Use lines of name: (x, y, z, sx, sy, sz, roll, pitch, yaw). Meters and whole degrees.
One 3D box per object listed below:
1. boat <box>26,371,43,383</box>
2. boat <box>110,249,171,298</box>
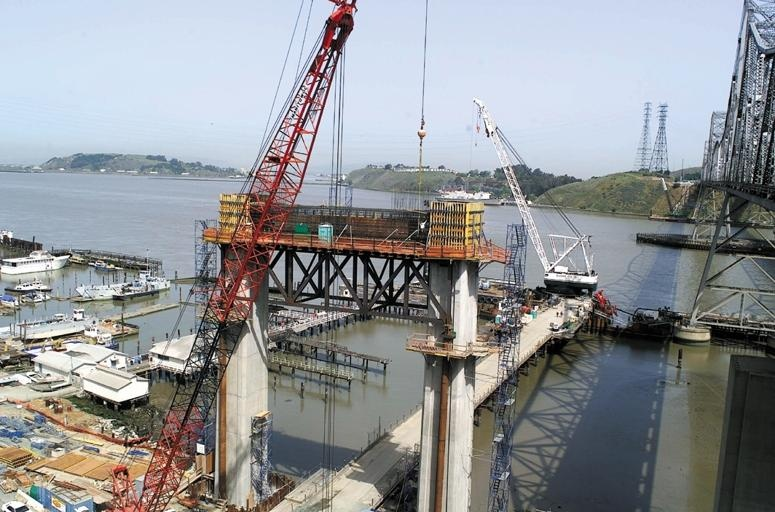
boat: (-36.597, 12.599, 70.860, 1.835, 0.633, 2.542, -2, 6, -28)
boat: (-39.113, 3.351, 109.205, 3.591, 6.469, 11.275, 12, 15, 22)
